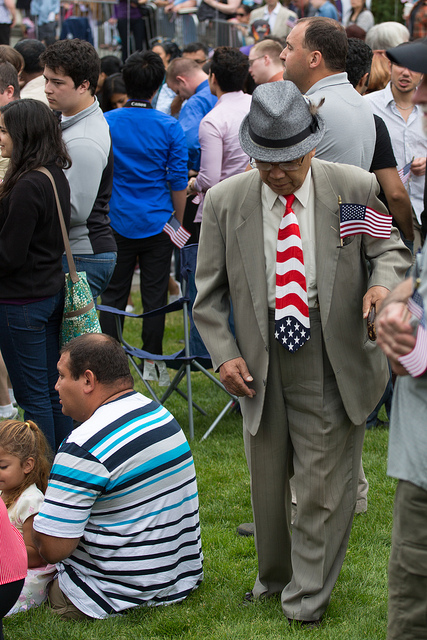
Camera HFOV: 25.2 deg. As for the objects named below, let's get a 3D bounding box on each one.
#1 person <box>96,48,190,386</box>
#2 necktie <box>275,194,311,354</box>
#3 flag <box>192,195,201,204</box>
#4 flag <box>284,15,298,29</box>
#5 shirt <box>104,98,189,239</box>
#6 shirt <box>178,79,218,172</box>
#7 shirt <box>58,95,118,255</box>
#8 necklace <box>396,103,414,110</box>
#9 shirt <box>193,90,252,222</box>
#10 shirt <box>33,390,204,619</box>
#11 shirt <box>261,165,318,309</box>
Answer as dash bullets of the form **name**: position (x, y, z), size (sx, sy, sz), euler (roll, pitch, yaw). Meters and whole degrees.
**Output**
- **person**: position (-0.522, -0.829, 6.976), size (0.698, 2.379, 0.700), euler (9, 30, 5)
- **necktie**: position (0.271, -0.168, 3.365), size (0.082, 0.542, 0.130), euler (-5, 11, -33)
- **flag**: position (-0.120, -0.891, 7.021), size (0.056, 0.027, 0.111), euler (3, 35, 4)
- **flag**: position (0.927, -3.630, 11.549), size (0.130, 0.181, 0.463), euler (2, 10, 3)
- **shirt**: position (-0.526, -1.103, 6.709), size (0.645, 0.969, 0.394), euler (7, 31, 3)
- **shirt**: position (-0.139, -1.632, 7.699), size (0.291, 0.795, 0.303), euler (7, 23, 12)
- **shirt**: position (-0.745, -0.780, 5.125), size (0.460, 0.838, 0.573), euler (-6, 20, -18)
- **necklace**: position (1.190, -1.337, 5.966), size (0.098, 0.030, 0.127), euler (3, 10, 9)
- **shirt**: position (0.055, -1.302, 6.883), size (0.390, 1.060, 0.459), euler (10, 27, 3)
- **shirt**: position (-0.343, 0.703, 3.529), size (0.601, 0.830, 0.302), euler (0, 9, -6)
- **shirt**: position (0.250, -0.287, 3.460), size (0.219, 0.476, 0.357), euler (-1, 26, 3)
